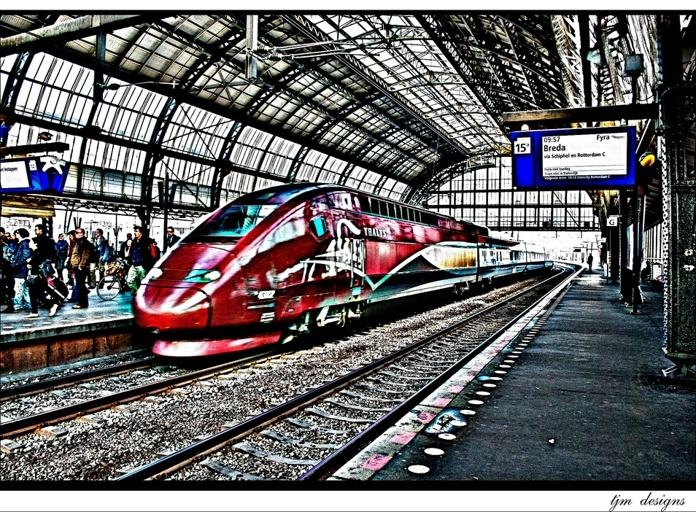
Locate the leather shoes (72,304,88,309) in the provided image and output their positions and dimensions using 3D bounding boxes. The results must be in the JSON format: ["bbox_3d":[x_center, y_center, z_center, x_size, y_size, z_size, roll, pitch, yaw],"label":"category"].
[{"bbox_3d":[-6.529,1.220,11.937,0.397,0.123,0.131,-3,0,5],"label":"leather shoes"}]

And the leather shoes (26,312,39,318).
[{"bbox_3d":[-6.774,1.249,10.482,0.396,0.121,0.120,1,-3,2],"label":"leather shoes"}]
